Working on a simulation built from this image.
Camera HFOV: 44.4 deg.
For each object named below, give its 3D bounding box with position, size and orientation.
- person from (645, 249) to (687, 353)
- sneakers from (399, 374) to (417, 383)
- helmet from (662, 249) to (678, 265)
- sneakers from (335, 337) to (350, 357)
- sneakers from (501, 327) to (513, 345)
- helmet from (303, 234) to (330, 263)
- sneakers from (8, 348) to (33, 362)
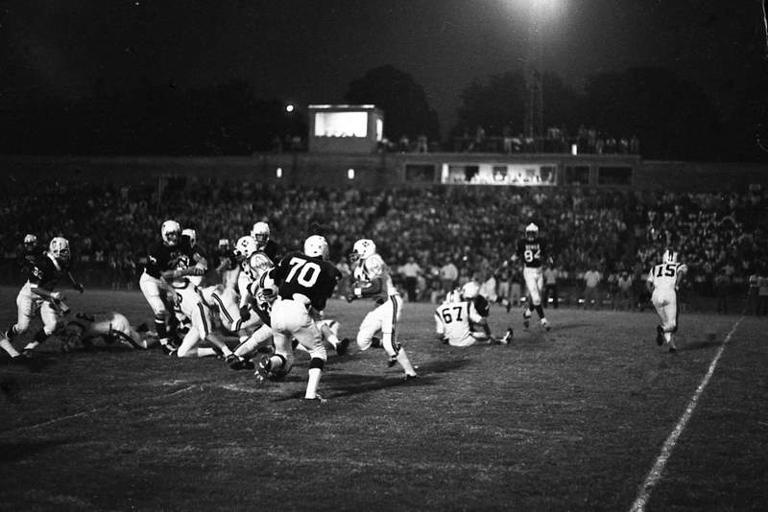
[{"bbox_3d":[7.779,1.127,26.072,1.098,2.862,1.074,21,-20,-41],"label":"person"},{"bbox_3d":[0.552,2.892,22.629,0.438,0.137,0.246,-1,-5,38],"label":"sneakers"},{"bbox_3d":[7.888,-0.013,25.898,0.354,0.411,0.425,3,3,3],"label":"helmet"},{"bbox_3d":[-1.020,2.249,22.886,0.263,0.612,0.261,10,26,-14],"label":"sneakers"},{"bbox_3d":[3.450,2.181,26.302,0.283,0.480,0.216,18,-13,31],"label":"sneakers"},{"bbox_3d":[-1.611,-0.193,21.711,0.647,0.555,0.497,-11,-18,27],"label":"helmet"},{"bbox_3d":[-9.084,2.498,23.538,0.619,0.256,0.213,-12,22,36],"label":"sneakers"}]
